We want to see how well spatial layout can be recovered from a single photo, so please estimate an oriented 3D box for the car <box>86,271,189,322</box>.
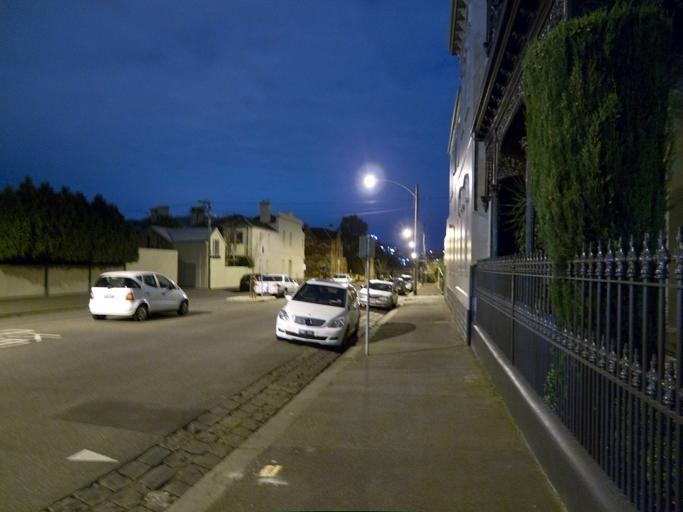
[{"bbox_3d":[-5.928,1.169,18.084,1.252,1.177,2.492,0,1,19],"label":"car"}]
